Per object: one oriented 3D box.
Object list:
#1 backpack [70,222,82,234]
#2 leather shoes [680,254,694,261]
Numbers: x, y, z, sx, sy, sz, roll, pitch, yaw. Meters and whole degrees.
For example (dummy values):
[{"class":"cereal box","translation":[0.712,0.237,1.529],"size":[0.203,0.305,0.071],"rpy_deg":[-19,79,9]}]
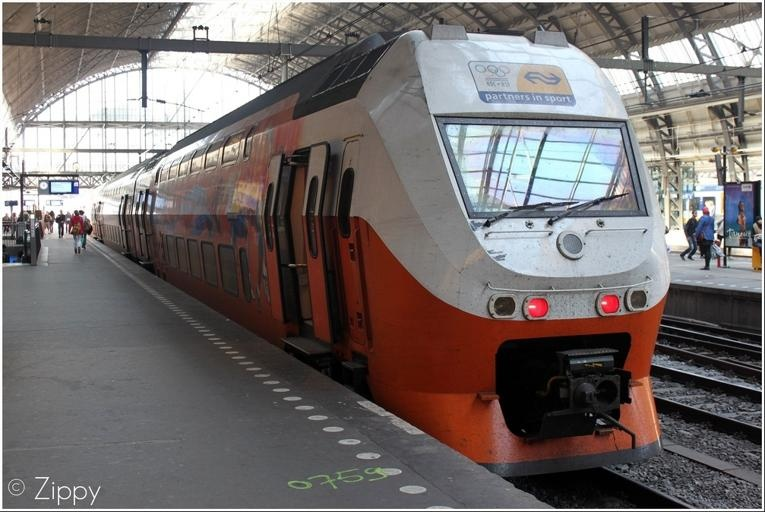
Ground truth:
[{"class":"backpack","translation":[-11.999,-1.095,21.692],"size":[0.289,0.449,0.619],"rpy_deg":[1,5,1]},{"class":"leather shoes","translation":[12.080,0.016,21.992],"size":[0.549,0.251,0.167],"rpy_deg":[-4,14,-6]}]
